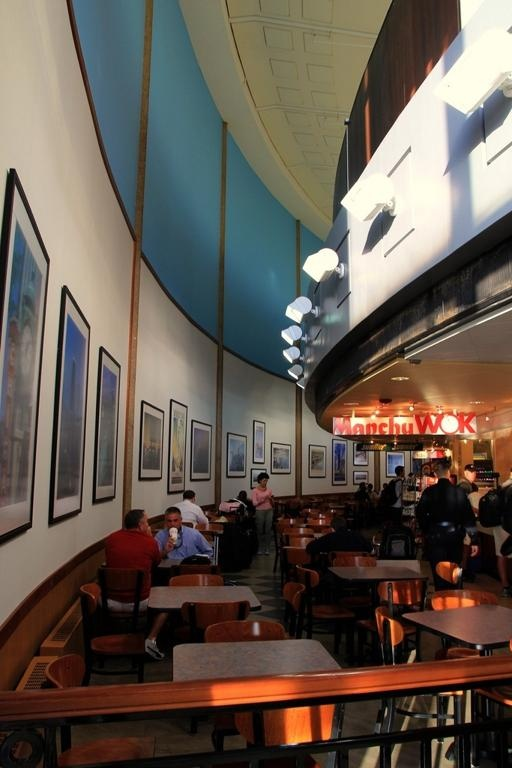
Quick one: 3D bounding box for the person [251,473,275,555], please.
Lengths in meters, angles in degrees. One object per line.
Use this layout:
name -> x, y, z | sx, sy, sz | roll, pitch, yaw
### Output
person -> 0.131, 2.549, 9.490 | 0.369, 1.618, 1.230 | 1, -8, 1

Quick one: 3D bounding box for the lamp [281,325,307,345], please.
lamp -> 0.790, -1.042, 10.025 | 0.365, 0.493, 1.190 | 0, -8, 9

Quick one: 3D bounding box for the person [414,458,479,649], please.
person -> 1.920, 1.431, 4.820 | 0.498, 1.651, 0.539 | -3, 24, 21

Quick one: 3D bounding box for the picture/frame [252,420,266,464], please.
picture/frame -> 0.069, 1.585, 13.365 | 0.054, 1.328, 0.965 | -3, -8, 21

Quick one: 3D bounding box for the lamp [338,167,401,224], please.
lamp -> 0.688, -1.113, 2.935 | 0.293, 0.222, 0.337 | 16, 10, 10

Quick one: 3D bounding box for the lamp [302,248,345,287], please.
lamp -> 0.586, -1.050, 4.271 | 0.307, 0.285, 0.296 | 22, 4, -4

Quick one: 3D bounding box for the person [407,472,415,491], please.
person -> 3.583, 2.270, 11.209 | 0.224, 0.354, 0.908 | -1, -8, 18

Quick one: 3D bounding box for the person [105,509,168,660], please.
person -> -0.938, 1.555, 3.886 | 0.525, 1.217, 0.543 | 7, -11, -41

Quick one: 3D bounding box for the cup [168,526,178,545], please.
cup -> -0.750, 1.378, 4.425 | 0.097, 0.195, 0.112 | -2, -4, 6

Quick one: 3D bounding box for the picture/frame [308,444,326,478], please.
picture/frame -> 2.051, 2.587, 16.484 | 0.045, 1.228, 0.989 | -3, -8, 31

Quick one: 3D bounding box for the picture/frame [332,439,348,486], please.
picture/frame -> 3.118, 2.908, 18.042 | 0.170, 1.646, 1.326 | -2, -9, 28
